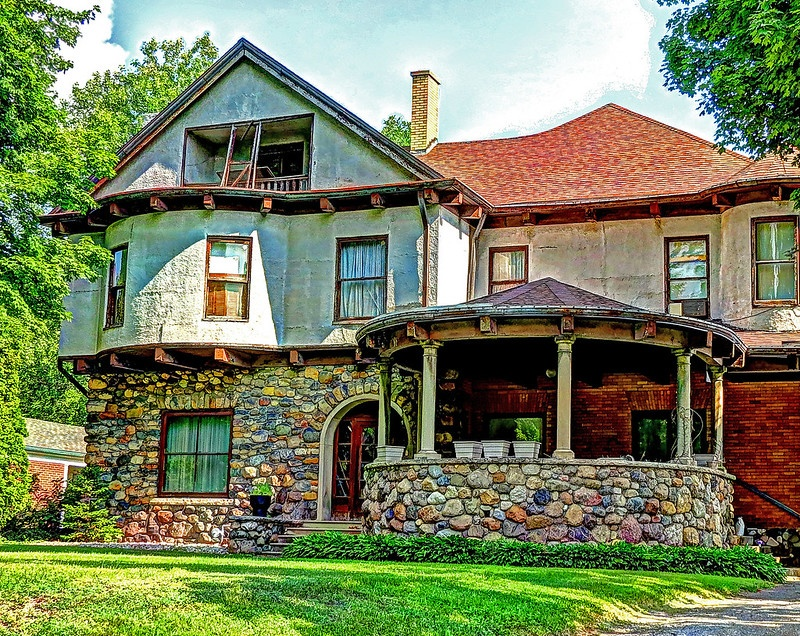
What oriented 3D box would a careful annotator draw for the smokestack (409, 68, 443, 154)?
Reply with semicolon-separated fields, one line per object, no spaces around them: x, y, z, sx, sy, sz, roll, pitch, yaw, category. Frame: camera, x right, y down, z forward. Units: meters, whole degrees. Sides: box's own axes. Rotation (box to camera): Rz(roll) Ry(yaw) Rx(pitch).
0.378;-6.358;30.913;0.850;2.222;0.715;7;16;-13;smokestack

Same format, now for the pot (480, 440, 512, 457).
1.826;2.531;20.053;0.411;0.248;0.367;-2;-7;12;pot

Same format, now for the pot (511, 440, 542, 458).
2.440;2.521;19.917;0.427;0.218;0.362;1;-6;-11;pot

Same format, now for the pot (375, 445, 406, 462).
-0.234;2.785;21.335;0.341;0.220;0.465;3;-12;-15;pot

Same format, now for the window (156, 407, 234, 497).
-5.103;3.430;26.005;2.248;2.390;0.183;-2;-12;15;window

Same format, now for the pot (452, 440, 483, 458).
1.332;2.574;20.398;0.600;0.319;0.500;1;-9;-3;pot

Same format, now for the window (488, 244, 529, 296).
2.632;-1.179;25.238;1.391;1.566;0.108;2;-1;17;window

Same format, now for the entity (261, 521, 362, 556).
-1.995;4.950;23.478;2.297;0.662;1.566;3;-10;-18;entity

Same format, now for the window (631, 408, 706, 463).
6.010;2.624;23.106;1.575;1.346;0.112;0;-5;14;window

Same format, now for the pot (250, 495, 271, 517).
-3.224;4.401;24.260;0.494;0.505;0.510;0;-10;0;pot
